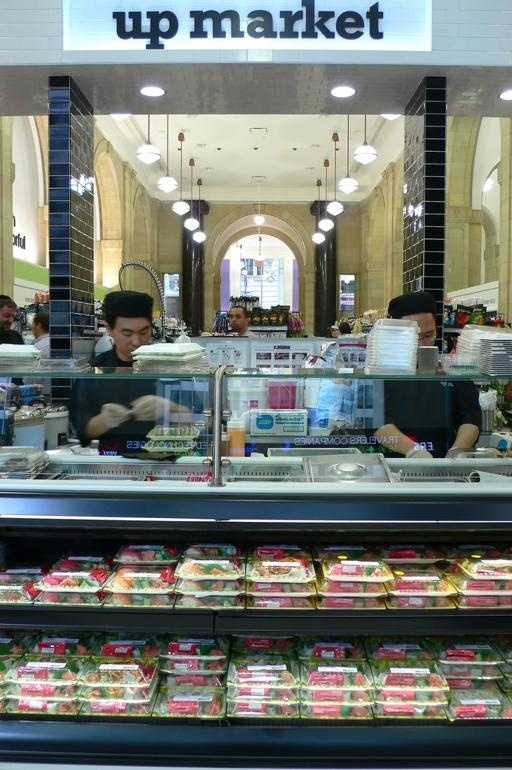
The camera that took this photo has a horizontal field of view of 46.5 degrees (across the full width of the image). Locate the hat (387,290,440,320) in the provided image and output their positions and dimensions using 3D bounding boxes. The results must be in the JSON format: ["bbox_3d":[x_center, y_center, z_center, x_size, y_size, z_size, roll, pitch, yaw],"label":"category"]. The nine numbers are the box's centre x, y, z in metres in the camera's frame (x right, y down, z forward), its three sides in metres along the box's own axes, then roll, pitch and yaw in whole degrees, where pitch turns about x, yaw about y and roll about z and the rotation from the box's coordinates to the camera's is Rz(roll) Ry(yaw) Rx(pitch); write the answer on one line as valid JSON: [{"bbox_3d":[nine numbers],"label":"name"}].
[{"bbox_3d":[0.622,-0.312,2.413,0.149,0.075,0.189,-6,6,5],"label":"hat"}]

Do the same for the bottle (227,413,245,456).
[{"bbox_3d":[-0.049,0.131,1.548,0.013,0.111,0.058,4,9,45],"label":"bottle"}]

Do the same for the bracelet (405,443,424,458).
[{"bbox_3d":[0.439,0.183,1.634,0.040,0.038,0.010,8,-16,-18],"label":"bracelet"}]
